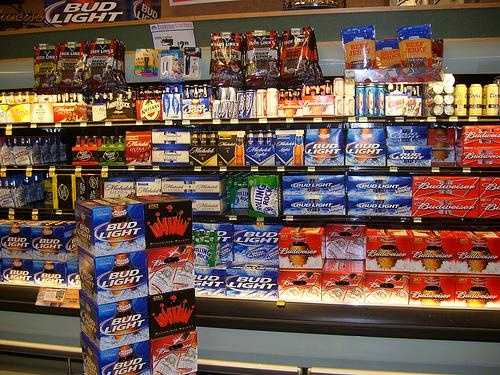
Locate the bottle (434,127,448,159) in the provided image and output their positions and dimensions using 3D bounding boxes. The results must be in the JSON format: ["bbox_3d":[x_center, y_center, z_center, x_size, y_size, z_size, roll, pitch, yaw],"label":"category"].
[{"bbox_3d":[1.915,-0.445,4.352,0.150,0.285,0.141,-3,5,0],"label":"bottle"}]

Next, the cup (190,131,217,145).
[{"bbox_3d":[-0.492,-0.528,4.572,0.304,0.141,0.193,3,7,8],"label":"cup"}]

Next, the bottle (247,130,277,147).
[{"bbox_3d":[0.103,-0.513,4.493,0.401,0.188,0.204,1,3,4],"label":"bottle"}]
